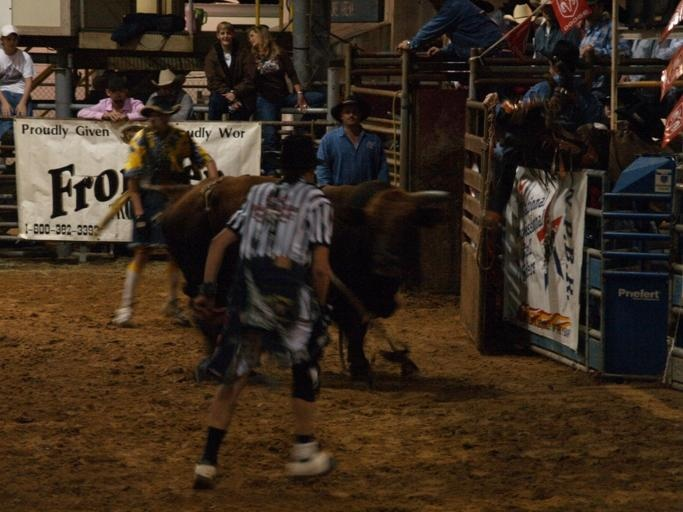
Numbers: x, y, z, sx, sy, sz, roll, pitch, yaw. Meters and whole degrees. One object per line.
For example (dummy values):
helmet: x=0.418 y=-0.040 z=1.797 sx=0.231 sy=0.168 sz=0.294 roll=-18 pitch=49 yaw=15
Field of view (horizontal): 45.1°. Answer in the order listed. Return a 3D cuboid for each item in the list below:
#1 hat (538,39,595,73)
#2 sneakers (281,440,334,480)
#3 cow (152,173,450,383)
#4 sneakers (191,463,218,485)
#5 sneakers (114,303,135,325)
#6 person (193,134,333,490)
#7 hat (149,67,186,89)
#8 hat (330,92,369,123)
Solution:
hat: x=2.260 y=-1.983 z=8.024 sx=0.354 sy=0.371 sz=0.495 roll=19 pitch=0 yaw=-34
sneakers: x=-0.260 y=1.377 z=5.713 sx=0.358 sy=0.229 sz=0.186 roll=-6 pitch=6 yaw=-9
cow: x=-0.445 y=0.143 z=7.493 sx=3.096 sy=1.680 sz=0.978 roll=5 pitch=7 yaw=17
sneakers: x=-0.932 y=1.423 z=5.424 sx=0.109 sy=0.132 sz=0.206 roll=5 pitch=-25 yaw=-10
sneakers: x=-2.378 y=0.628 z=8.863 sx=0.155 sy=0.281 sz=0.239 roll=-4 pitch=14 yaw=-19
person: x=-0.521 y=0.377 z=5.616 sx=0.933 sy=2.340 sz=0.723 roll=-2 pitch=13 yaw=-9
hat: x=-2.361 y=-2.408 z=11.147 sx=0.353 sy=0.228 sz=0.660 roll=-2 pitch=13 yaw=-9
hat: x=0.116 y=-1.708 z=9.535 sx=0.429 sy=0.310 sz=0.713 roll=-2 pitch=13 yaw=-8
